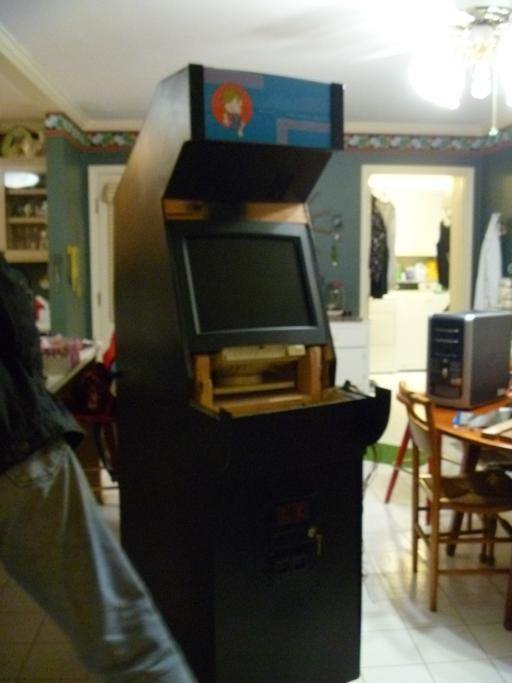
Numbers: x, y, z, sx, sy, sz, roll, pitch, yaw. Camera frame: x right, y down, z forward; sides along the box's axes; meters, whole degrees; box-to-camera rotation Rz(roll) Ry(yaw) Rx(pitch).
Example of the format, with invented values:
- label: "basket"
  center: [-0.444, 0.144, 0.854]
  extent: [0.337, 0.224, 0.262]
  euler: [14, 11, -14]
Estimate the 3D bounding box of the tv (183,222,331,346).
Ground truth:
- label: "tv"
  center: [-0.009, -0.112, 1.437]
  extent: [0.311, 0.292, 0.080]
  euler: [-6, -1, -25]
